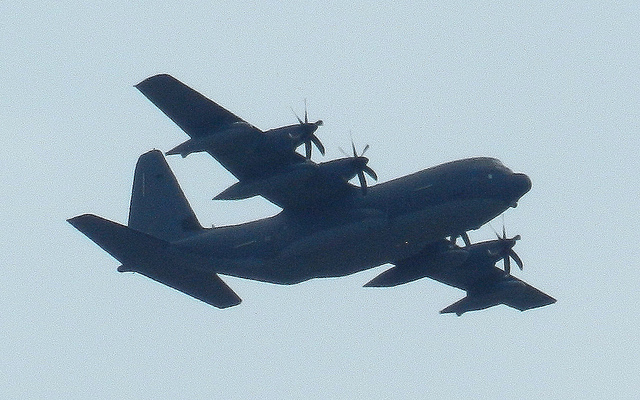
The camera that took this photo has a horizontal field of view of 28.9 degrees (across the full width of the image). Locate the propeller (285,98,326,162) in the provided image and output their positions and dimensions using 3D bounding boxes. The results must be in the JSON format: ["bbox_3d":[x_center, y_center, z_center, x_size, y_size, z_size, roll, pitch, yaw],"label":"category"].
[{"bbox_3d":[-0.558,-3.393,62.594,1.658,1.323,1.861,-38,-54,14],"label":"propeller"}]

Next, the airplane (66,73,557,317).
[{"bbox_3d":[-0.196,0.514,61.234,30.382,10.770,12.347,0,-90,-12],"label":"airplane"}]
